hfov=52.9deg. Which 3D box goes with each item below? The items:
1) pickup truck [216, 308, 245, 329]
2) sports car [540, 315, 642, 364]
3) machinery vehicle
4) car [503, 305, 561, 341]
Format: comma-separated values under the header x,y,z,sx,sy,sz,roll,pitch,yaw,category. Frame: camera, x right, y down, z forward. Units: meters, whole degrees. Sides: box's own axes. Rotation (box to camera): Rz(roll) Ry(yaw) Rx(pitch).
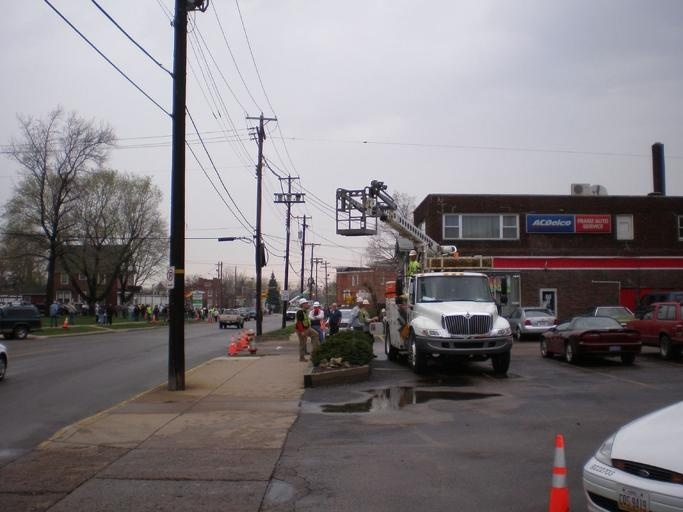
x,y,z,sx,sy,sz,roll,pitch,yaw,category
-8.580,5.024,54.761,1.213,1.143,3.031,0,-11,0,pickup truck
7.815,2.651,22.026,2.042,1.415,4.199,-1,-4,-4,sports car
4.057,1.133,23.545,3.154,6.273,10.909,0,-5,-9,machinery vehicle
9.043,3.071,32.332,2.178,1.720,2.590,2,-3,7,car
